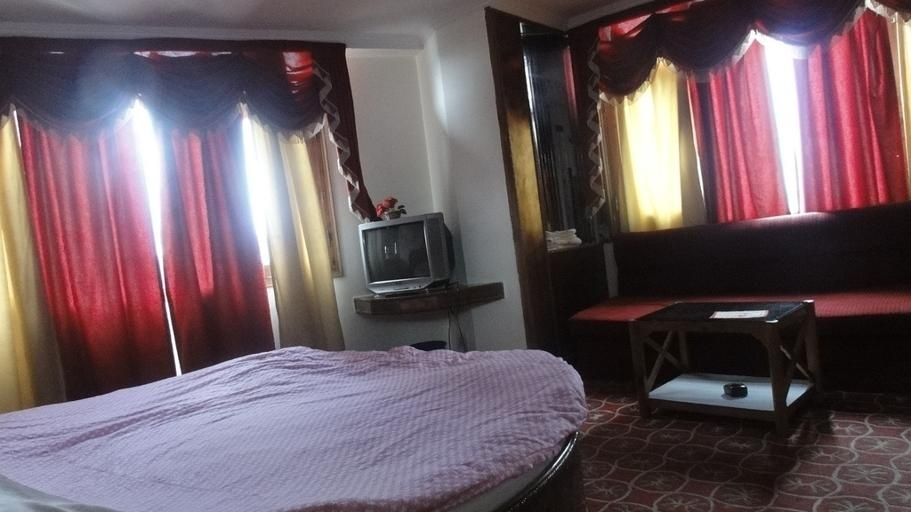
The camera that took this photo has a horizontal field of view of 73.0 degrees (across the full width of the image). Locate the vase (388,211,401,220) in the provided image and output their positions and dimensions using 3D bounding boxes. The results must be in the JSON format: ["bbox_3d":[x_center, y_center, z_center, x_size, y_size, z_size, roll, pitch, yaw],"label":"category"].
[{"bbox_3d":[-0.565,-0.379,5.710,0.087,0.088,0.090,-22,-20,-19],"label":"vase"}]

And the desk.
[{"bbox_3d":[1.234,0.439,5.735,0.826,0.977,0.778,-6,5,18],"label":"desk"}]

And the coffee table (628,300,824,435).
[{"bbox_3d":[2.098,0.575,4.712,1.348,0.843,0.989,-2,4,38],"label":"coffee table"}]

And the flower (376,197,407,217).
[{"bbox_3d":[-0.604,-0.450,5.837,0.250,0.123,0.235,-1,3,10],"label":"flower"}]
